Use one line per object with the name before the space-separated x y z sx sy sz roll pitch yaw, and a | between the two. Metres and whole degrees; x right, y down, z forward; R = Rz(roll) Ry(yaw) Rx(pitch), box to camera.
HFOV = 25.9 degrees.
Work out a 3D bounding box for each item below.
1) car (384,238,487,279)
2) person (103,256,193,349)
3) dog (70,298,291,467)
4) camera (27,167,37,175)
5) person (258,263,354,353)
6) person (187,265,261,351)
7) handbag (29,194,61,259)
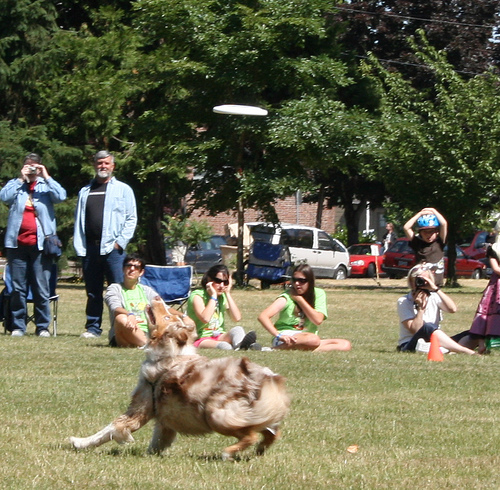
car | 5.622 0.512 31.086 3.271 1.209 1.730 -2 2 -23
person | -1.203 0.687 12.851 1.052 1.033 0.871 3 3 -18
dog | -0.554 1.154 8.846 2.039 1.249 0.715 -1 -2 36
camera | -2.762 -0.921 13.758 0.101 0.083 0.035 -1 -3 -2
person | 0.593 0.794 12.943 1.340 0.958 0.717 2 6 -10
person | -0.274 0.775 12.794 0.672 1.008 1.201 2 -3 -36
handbag | -2.587 -0.146 13.788 0.457 0.662 0.140 6 6 24
